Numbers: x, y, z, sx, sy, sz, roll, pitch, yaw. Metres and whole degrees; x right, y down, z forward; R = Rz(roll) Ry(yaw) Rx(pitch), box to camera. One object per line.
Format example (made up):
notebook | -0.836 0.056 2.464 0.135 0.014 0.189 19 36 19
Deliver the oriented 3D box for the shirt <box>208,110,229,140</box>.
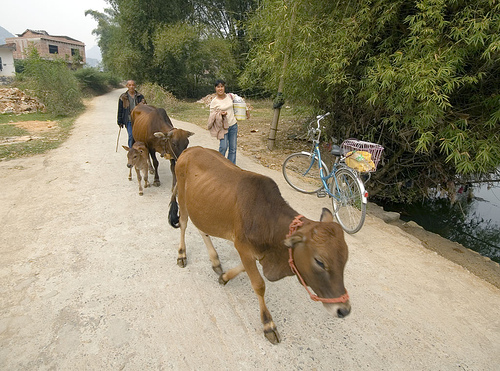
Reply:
shirt | -0.735 -1.435 7.420 0.457 0.646 0.247 2 18 2

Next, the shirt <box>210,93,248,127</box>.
shirt | -0.586 -1.767 7.481 0.703 0.717 0.376 -26 28 -33

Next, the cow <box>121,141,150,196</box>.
cow | -2.584 -0.475 7.468 0.411 1.184 1.681 -4 20 -11

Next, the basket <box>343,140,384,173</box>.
basket | 2.181 -0.538 6.289 0.553 0.561 0.802 -7 31 -19

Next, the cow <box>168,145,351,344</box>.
cow | 0.029 0.818 4.396 2.895 2.127 0.774 18 26 35

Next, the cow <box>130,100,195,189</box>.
cow | -2.334 -1.045 7.997 0.912 1.898 3.082 -10 26 -33

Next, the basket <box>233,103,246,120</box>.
basket | -0.249 -1.790 7.631 0.278 0.327 0.341 -7 17 -18

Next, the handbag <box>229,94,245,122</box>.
handbag | -0.383 -1.857 7.703 0.383 0.459 0.471 -11 29 -12
